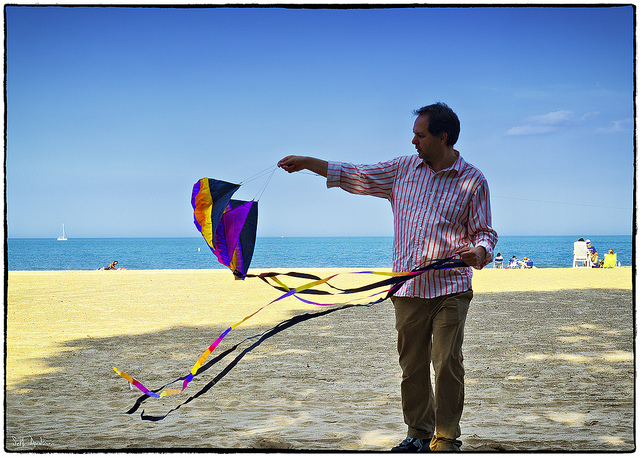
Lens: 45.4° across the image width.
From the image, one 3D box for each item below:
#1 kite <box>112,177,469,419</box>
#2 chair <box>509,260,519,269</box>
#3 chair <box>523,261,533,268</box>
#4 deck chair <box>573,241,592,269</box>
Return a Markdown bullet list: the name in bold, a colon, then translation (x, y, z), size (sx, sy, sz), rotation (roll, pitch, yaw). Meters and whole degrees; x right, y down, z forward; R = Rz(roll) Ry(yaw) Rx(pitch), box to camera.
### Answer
- **kite**: translation (-0.127, 0.339, 9.004), size (5.377, 2.280, 0.571), rotation (-11, 4, -26)
- **chair**: translation (9.085, 1.708, 35.930), size (0.381, 0.471, 0.196), rotation (0, -13, 11)
- **chair**: translation (9.596, 1.679, 35.367), size (0.470, 0.176, 0.327), rotation (17, 1, -35)
- **deck chair**: translation (11.730, 1.140, 34.402), size (0.655, 1.185, 1.171), rotation (-1, 0, 8)
